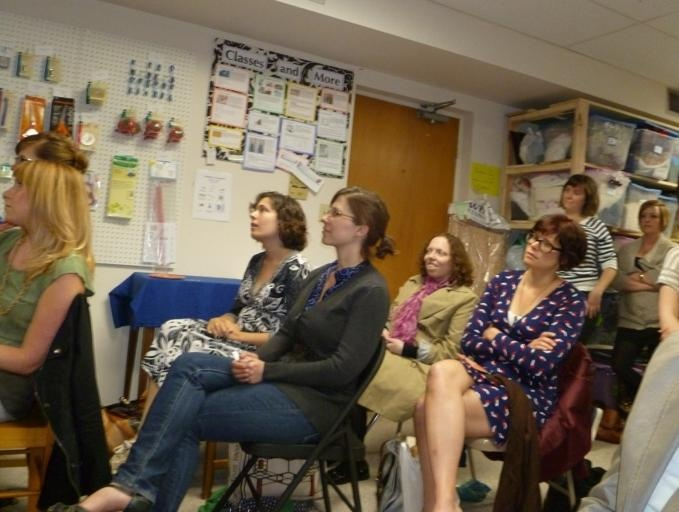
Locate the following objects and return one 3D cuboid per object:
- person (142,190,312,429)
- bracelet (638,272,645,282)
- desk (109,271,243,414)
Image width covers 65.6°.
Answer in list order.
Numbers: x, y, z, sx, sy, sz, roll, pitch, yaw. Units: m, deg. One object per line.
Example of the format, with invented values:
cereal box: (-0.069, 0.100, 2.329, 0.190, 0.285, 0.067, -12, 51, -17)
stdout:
person: (-0.594, 0.324, 2.668, 0.891, 1.286, 0.511, 1, 10, -26)
bracelet: (2.201, 0.158, 3.821, 0.025, 0.048, 0.065, 7, 6, -4)
desk: (-1.110, 0.565, 3.657, 0.896, 0.766, 0.843, 6, 0, -22)
